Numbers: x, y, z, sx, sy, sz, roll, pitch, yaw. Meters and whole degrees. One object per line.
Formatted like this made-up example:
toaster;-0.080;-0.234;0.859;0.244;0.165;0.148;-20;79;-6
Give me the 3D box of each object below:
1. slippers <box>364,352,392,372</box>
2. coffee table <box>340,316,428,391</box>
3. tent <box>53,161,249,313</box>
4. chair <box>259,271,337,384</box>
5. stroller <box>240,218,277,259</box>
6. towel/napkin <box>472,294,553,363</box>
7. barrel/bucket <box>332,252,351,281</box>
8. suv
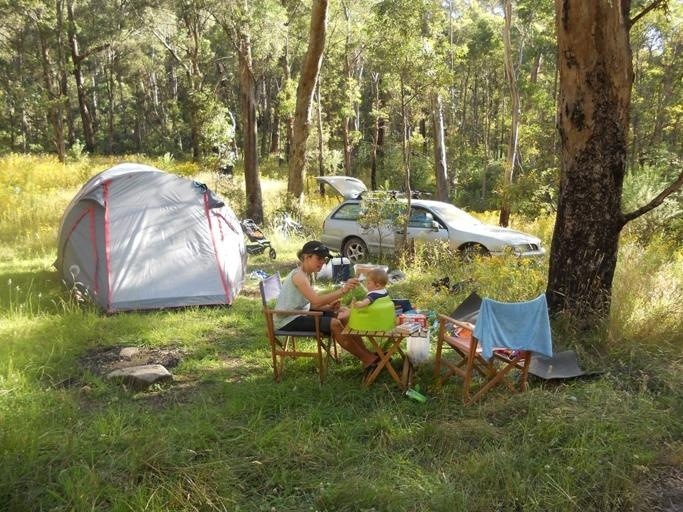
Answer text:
slippers;0.503;1.502;8.837;0.373;0.142;0.128;-39;6;-9
coffee table;0.567;1.378;8.746;0.816;0.687;0.908;0;6;9
tent;-3.653;0.002;11.987;2.619;3.103;3.032;-7;17;-30
chair;-0.639;0.965;9.188;1.010;1.440;1.137;-6;9;-17
stroller;-2.159;-0.420;15.875;1.072;1.299;0.692;4;11;16
towel/napkin;2.230;0.923;7.988;0.936;0.937;0.208;-1;26;17
barrel/bucket;-0.049;0.249;13.251;0.505;0.729;0.369;1;-2;-38
suv;1.919;-0.667;14.305;4.604;2.443;2.006;3;8;25
